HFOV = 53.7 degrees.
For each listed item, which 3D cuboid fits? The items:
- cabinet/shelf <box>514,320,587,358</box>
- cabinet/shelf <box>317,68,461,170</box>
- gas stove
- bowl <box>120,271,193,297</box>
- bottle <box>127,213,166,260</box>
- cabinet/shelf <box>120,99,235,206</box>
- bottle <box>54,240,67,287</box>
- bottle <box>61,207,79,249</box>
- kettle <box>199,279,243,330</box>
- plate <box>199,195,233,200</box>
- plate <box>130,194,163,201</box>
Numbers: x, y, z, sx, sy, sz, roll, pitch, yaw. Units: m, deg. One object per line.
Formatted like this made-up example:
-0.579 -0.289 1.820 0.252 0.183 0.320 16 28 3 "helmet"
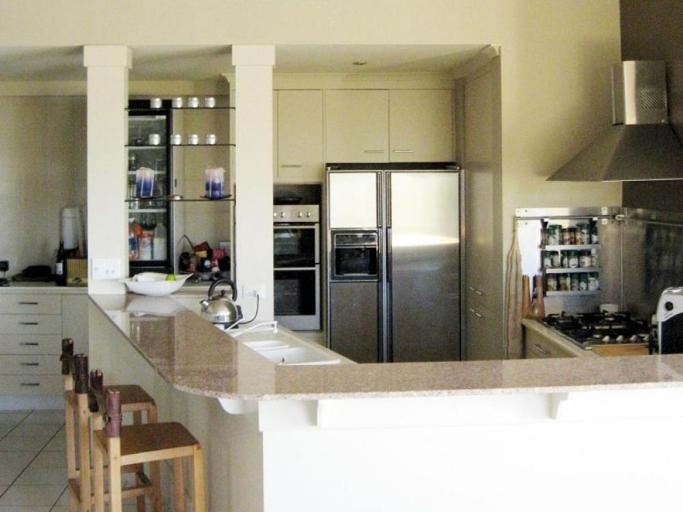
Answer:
1.413 0.626 4.716 0.349 0.202 0.109 4 -18 -17 "cabinet/shelf"
0.393 -1.140 6.042 1.124 0.646 0.360 -1 5 -7 "cabinet/shelf"
1.785 0.509 4.598 0.698 0.155 0.720 0 4 4 "gas stove"
-1.297 0.197 4.677 0.343 0.110 0.224 -1 -1 -6 "bowl"
-1.639 -0.159 5.612 0.336 0.419 0.243 -2 4 -34 "bottle"
-1.340 -0.859 5.423 1.017 0.882 0.324 1 -1 -33 "cabinet/shelf"
-2.533 0.063 6.025 0.095 0.354 0.565 -2 4 -23 "bottle"
-2.500 -0.252 6.201 0.165 0.383 0.150 0 3 0 "bottle"
-0.714 0.274 4.001 0.274 0.267 0.211 -3 9 -41 "kettle"
-0.915 -0.425 4.916 0.206 0.039 0.105 -1 0 -9 "plate"
-1.468 -0.432 5.033 0.249 0.040 0.554 -1 4 -15 "plate"
